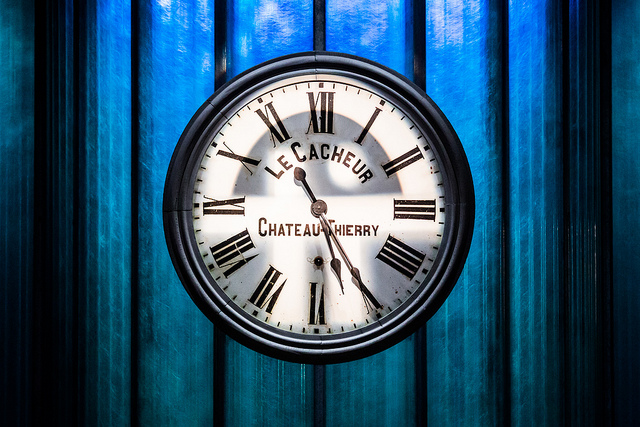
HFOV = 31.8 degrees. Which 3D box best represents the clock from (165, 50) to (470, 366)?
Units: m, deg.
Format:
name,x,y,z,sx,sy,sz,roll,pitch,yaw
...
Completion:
name,x,y,z,sx,sy,sz,roll,pitch,yaw
clock,-0.012,0.031,4.385,1.197,0.157,1.170,2,-91,-2
